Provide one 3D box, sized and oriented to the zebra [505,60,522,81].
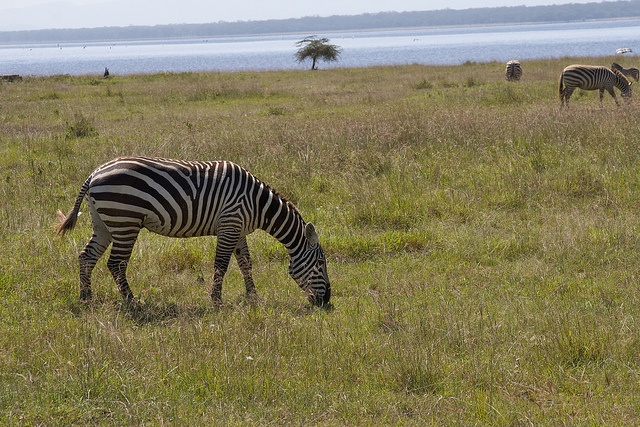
[{"bbox_3d":[8.442,-6.147,33.913,0.684,1.079,2.608,-3,5,14],"label":"zebra"}]
